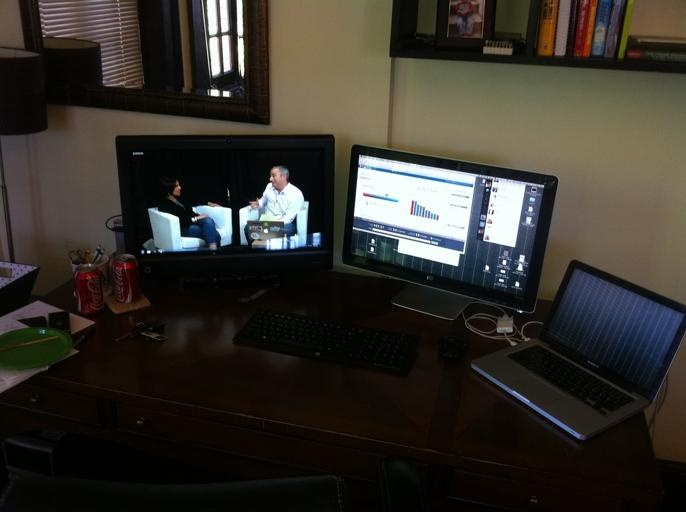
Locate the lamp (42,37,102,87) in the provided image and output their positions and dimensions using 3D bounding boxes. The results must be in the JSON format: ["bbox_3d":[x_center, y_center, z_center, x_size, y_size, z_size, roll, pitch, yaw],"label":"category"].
[{"bbox_3d":[-1.103,-0.801,2.215,0.173,0.118,0.098,11,35,8],"label":"lamp"}]

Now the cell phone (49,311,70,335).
[{"bbox_3d":[-0.931,0.212,1.778,0.076,0.060,0.109,-4,17,-33],"label":"cell phone"}]

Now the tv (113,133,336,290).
[{"bbox_3d":[-0.433,-0.169,1.961,0.543,0.394,0.166,-1,15,-5],"label":"tv"}]

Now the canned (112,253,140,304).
[{"bbox_3d":[-0.761,0.082,1.900,0.096,0.172,0.098,-5,31,-19],"label":"canned"}]

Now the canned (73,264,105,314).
[{"bbox_3d":[-0.874,0.117,1.859,0.098,0.171,0.099,-7,28,-21],"label":"canned"}]

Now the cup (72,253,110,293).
[{"bbox_3d":[-0.897,0.064,1.929,0.096,0.098,0.086,27,40,27],"label":"cup"}]

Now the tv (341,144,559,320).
[{"bbox_3d":[0.379,-0.089,1.896,0.532,0.399,0.191,14,35,19],"label":"tv"}]
